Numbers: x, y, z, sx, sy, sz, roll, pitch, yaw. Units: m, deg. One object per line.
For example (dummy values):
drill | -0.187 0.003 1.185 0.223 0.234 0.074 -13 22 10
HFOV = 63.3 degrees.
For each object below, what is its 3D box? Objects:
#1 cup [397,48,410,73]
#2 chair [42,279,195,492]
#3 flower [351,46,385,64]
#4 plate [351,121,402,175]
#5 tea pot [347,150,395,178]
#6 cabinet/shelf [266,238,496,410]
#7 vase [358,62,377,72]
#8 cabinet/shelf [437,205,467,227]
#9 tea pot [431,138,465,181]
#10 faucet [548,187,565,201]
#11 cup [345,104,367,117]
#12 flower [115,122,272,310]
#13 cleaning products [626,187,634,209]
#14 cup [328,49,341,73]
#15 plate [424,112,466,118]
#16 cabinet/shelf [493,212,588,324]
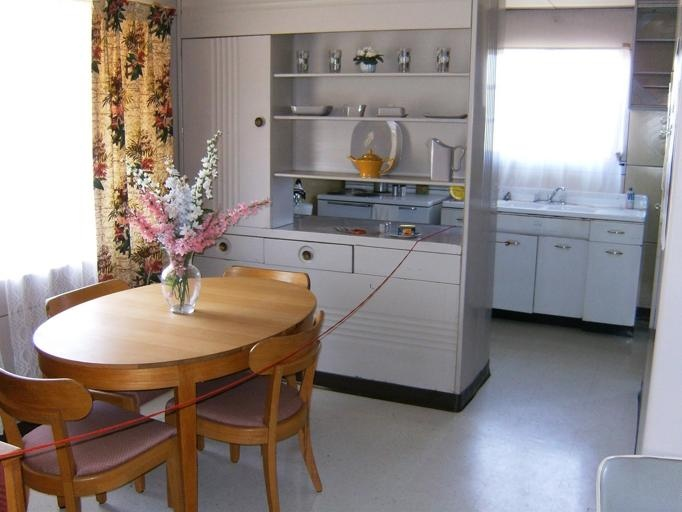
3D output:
cup | 0.426 -1.307 3.740 0.087 0.156 0.266 3 14 6
chair | -1.273 0.576 3.400 0.871 1.348 0.895 4 11 16
flower | 0.190 -1.368 3.781 0.169 0.079 0.173 1 11 7
plate | 0.266 -0.766 3.945 0.378 0.529 0.152 1 -7 24
tea pot | 0.222 -0.651 3.913 0.299 0.176 0.298 1 14 0
cabinet/shelf | 0.434 0.326 4.325 1.886 1.333 1.128 2 8 38
vase | 0.177 -1.267 3.791 0.102 0.076 0.105 4 9 30
cabinet/shelf | 1.132 -0.402 5.675 0.301 0.241 0.313 2 8 23
tea pot | 0.718 -0.650 3.752 0.231 0.264 0.291 4 15 11
faucet | 2.164 -0.607 5.550 0.153 0.153 0.097 -3 15 -15
cup | 0.107 -1.004 3.879 0.125 0.080 0.100 2 7 12
flower | -0.733 -0.126 2.683 0.568 0.723 0.450 1 2 18
cleaning products | 2.758 -0.548 5.286 0.075 0.178 0.159 7 15 20
cup | -0.046 -1.349 3.858 0.082 0.154 0.174 1 14 -2
plate | 0.695 -0.928 3.689 0.258 0.042 0.357 3 15 5
cabinet/shelf | 1.800 0.083 5.399 0.994 0.965 0.698 4 1 -6
